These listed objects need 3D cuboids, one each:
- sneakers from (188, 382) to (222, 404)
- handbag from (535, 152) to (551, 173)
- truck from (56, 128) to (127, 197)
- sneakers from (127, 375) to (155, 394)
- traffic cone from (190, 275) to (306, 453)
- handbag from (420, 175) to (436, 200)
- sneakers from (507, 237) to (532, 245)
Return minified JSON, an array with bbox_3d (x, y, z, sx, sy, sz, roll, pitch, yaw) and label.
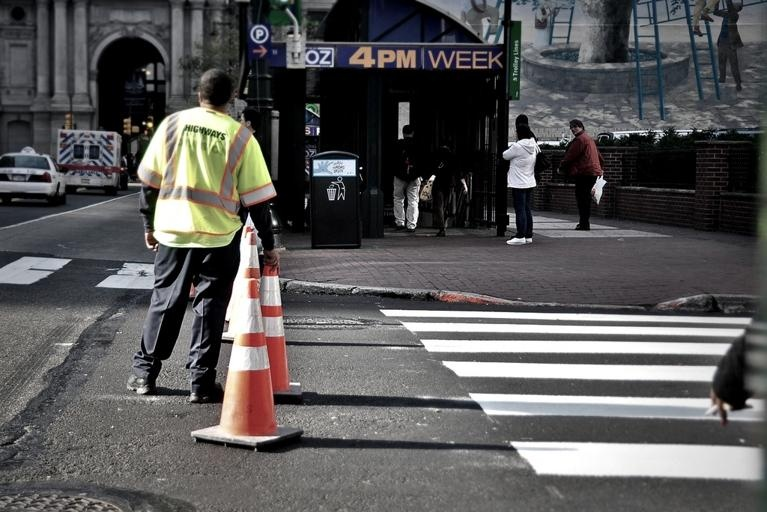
[{"bbox_3d":[-1.471,1.141,6.202,0.119,0.152,0.334,3,9,21],"label":"sneakers"},{"bbox_3d":[3.489,-2.080,16.350,0.272,0.440,0.710,2,11,12],"label":"handbag"},{"bbox_3d":[-16.529,-5.560,43.899,2.999,2.917,5.230,0,7,-4],"label":"truck"},{"bbox_3d":[-2.083,1.080,6.396,0.264,0.146,0.119,22,20,35],"label":"sneakers"},{"bbox_3d":[-0.747,0.826,5.642,0.896,1.424,0.896,-1,-3,37],"label":"traffic cone"},{"bbox_3d":[1.139,-1.718,18.560,0.166,0.559,0.321,12,0,-44],"label":"handbag"},{"bbox_3d":[2.982,-0.321,16.125,0.549,0.271,0.215,0,3,-7],"label":"sneakers"}]
